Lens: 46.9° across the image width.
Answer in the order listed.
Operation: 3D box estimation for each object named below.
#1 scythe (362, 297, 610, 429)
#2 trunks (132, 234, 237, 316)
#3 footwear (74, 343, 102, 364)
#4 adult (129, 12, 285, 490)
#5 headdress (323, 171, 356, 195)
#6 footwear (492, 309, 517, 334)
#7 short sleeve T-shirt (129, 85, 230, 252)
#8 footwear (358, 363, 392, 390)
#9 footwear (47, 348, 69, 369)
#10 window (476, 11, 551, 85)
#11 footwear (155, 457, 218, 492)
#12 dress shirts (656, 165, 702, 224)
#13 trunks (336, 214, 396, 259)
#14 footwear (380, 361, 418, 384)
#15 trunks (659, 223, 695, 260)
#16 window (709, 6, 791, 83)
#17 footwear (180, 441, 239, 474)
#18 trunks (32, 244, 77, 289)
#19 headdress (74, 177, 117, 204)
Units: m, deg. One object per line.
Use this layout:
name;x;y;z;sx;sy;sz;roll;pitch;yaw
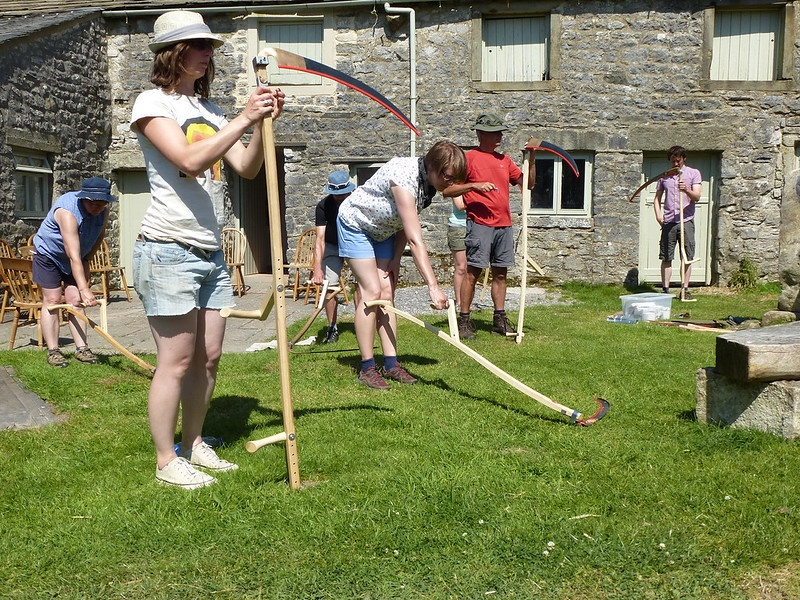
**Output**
scythe;0.802;0.481;6.253;1.487;0.060;0.380;29;-42;-19
trunks;-1.239;-0.115;5.463;0.436;0.449;0.644;-4;-3;29
footwear;-2.716;0.483;8.045;0.236;0.098;0.108;4;9;36
adult;-1.059;-0.290;5.550;1.070;2.796;0.923;2;8;11
headdress;-0.590;-1.153;9.202;0.287;0.141;0.337;-5;23;-2
footwear;1.098;0.248;9.281;0.336;0.224;0.137;5;4;3
short sleeve T-shirt;-1.272;-0.756;5.372;0.554;0.932;0.325;-1;4;-19
footwear;-0.187;0.605;7.206;0.275;0.130;0.126;12;13;40
footwear;-2.946;0.504;7.960;0.109;0.112;0.274;-5;7;-38
window;1.703;-3.816;13.739;1.117;0.991;0.116;0;4;0
footwear;-1.256;1.027;5.405;0.361;0.136;0.149;2;7;2
dress shirts;3.684;-1.404;12.240;0.589;0.688;0.386;-1;16;22
trunks;-0.239;-0.555;7.283;0.313;0.484;0.544;5;3;35
footwear;0.003;0.567;7.323;0.316;0.137;0.119;12;11;20
trunks;3.679;-0.787;12.243;0.557;0.643;0.285;-2;-4;37
window;5.183;-3.817;13.596;1.157;1.155;0.124;0;6;8
footwear;-1.167;0.949;5.651;0.425;0.161;0.141;9;8;5
trunks;-3.164;-0.257;8.372;0.309;0.372;0.500;-18;6;3
headdress;-2.651;-0.955;7.983;0.276;0.138;0.272;-2;7;-42
